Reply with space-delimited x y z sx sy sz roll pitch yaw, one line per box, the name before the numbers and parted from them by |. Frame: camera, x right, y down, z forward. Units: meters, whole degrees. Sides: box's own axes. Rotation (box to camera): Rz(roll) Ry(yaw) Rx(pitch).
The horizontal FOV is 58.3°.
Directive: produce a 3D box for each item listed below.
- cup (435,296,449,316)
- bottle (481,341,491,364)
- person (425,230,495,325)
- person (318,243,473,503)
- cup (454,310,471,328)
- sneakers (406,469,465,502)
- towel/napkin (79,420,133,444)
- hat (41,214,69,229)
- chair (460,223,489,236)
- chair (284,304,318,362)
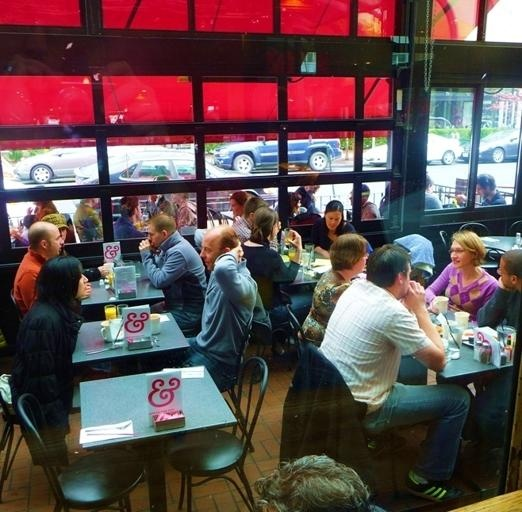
cup | 1.211 0.341 3.161 0.082 0.109 0.124 -1 3 -2
bottle | 1.259 0.547 2.632 0.055 0.108 0.030 -2 11 25
person | 1.468 0.174 3.424 0.464 0.676 0.541 -12 16 -24
person | 0.743 0.712 2.777 0.957 1.288 0.896 8 10 19
cup | 1.287 0.407 3.052 0.109 0.099 0.099 1 11 0
sneakers | 1.034 1.316 2.716 0.342 0.140 0.130 -1 11 -1
towel/napkin | -0.670 0.773 2.052 0.228 0.028 0.126 -7 9 -10
hat | -1.228 -0.211 2.822 0.108 0.048 0.074 13 18 19
chair | 1.419 -0.187 3.121 0.121 0.113 0.161 5 20 33
chair | 0.291 0.619 3.747 0.343 0.418 0.325 -5 4 -7
